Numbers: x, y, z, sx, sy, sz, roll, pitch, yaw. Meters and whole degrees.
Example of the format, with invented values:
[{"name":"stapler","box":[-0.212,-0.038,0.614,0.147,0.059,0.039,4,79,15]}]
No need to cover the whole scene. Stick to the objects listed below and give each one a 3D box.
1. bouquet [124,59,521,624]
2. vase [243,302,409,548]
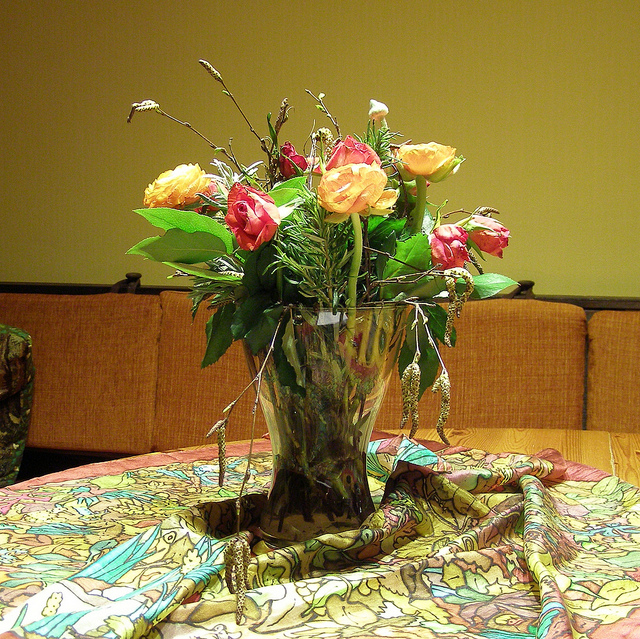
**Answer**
[{"name":"bouquet","box":[-0.012,-0.004,0.590,0.363,0.406,0.303,6,-1,-29]},{"name":"vase","box":[-0.001,0.101,0.591,0.170,0.208,0.146,1,-8,-3]}]
